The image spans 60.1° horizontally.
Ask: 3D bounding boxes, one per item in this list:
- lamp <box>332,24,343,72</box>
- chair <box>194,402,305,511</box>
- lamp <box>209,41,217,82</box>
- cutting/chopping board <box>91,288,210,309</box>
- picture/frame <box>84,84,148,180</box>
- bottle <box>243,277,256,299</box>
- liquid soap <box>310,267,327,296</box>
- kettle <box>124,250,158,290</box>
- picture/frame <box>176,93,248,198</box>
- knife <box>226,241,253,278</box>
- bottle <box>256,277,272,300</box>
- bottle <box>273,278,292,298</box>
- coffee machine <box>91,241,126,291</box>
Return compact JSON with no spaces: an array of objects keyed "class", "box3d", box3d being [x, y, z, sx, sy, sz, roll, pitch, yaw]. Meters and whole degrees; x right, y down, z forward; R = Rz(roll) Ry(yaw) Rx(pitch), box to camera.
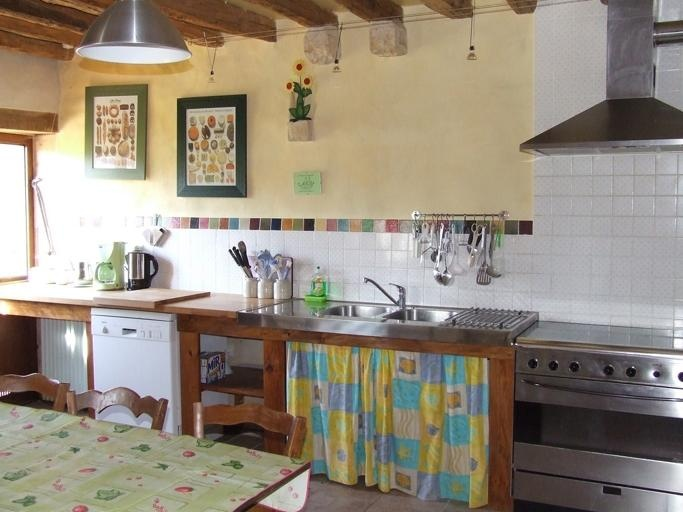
[{"class":"lamp","box3d":[-0.034,-1.597,4.528,0.076,0.376,0.163,0,1,-2]},{"class":"chair","box3d":[-0.427,0.892,2.815,0.402,0.718,0.455,-2,-7,20]},{"class":"lamp","box3d":[-1.094,-1.610,4.969,0.064,0.299,0.113,0,1,-27]},{"class":"cutting/chopping board","box3d":[-1.595,0.342,4.783,0.879,0.108,0.676,1,1,22]},{"class":"picture/frame","box3d":[-2.017,-1.131,5.314,0.770,0.970,0.042,4,7,25]},{"class":"bottle","box3d":[-0.785,0.262,4.743,0.144,0.155,0.093,6,6,39]},{"class":"liquid soap","box3d":[-0.190,0.198,4.642,0.127,0.229,0.148,0,1,13]},{"class":"kettle","box3d":[-1.742,0.141,5.125,0.272,0.369,0.177,-3,-23,-10]},{"class":"picture/frame","box3d":[-1.079,-0.951,4.983,0.794,1.124,0.045,3,7,22]},{"class":"knife","box3d":[-0.846,0.019,4.852,0.129,0.401,0.019,-33,18,-31]},{"class":"bottle","box3d":[-0.610,0.265,4.714,0.104,0.157,0.138,0,1,-29]},{"class":"bottle","box3d":[-0.468,0.260,4.726,0.139,0.147,0.136,-2,-3,24]},{"class":"coffee machine","box3d":[-2.026,0.083,5.171,0.238,0.406,0.392,0,1,-7]}]
